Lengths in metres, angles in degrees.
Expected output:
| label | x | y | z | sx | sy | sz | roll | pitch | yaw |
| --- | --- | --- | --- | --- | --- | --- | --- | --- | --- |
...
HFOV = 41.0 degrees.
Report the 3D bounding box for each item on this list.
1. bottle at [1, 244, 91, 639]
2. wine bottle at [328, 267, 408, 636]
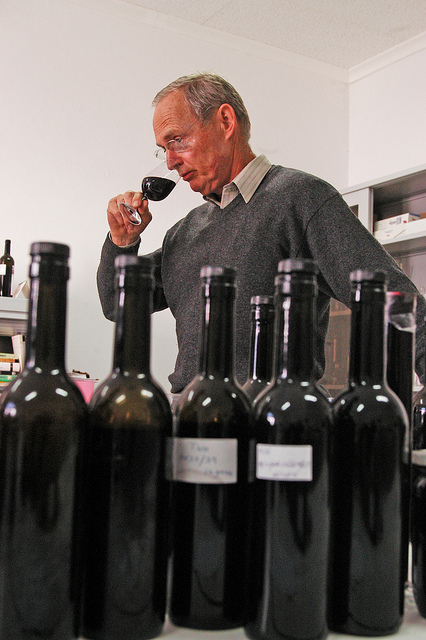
| label | x | y | z | sx | sy | sz | roll | pitch | yaw |
| --- | --- | --- | --- | --- | --- | --- | --- | --- | --- |
| bottle | -0.097 | 0.069 | 0.317 | 0.052 | 0.222 | 0.038 | 1 | -3 | 10 |
| wine bottle | 0.089 | 0.081 | 0.371 | 0.045 | 0.223 | 0.054 | 3 | 0 | -6 |
